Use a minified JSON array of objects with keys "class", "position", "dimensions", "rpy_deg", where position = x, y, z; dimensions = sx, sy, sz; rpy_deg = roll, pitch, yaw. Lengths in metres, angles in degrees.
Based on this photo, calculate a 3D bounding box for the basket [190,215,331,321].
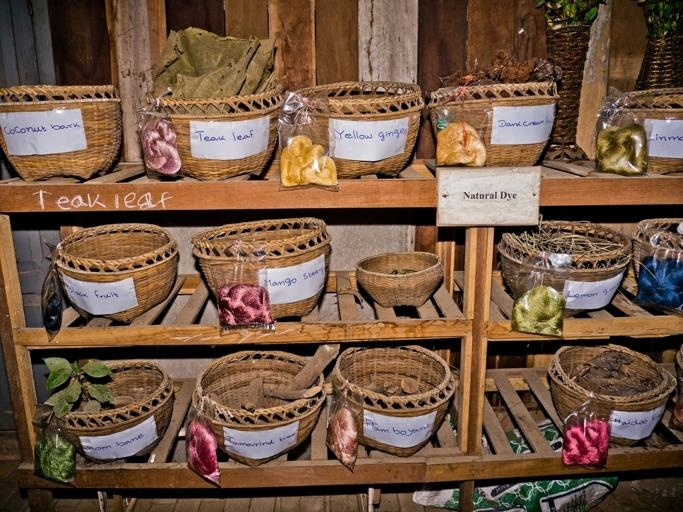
[{"class":"basket","position":[-0.330,0.035,2.390],"dimensions":[0.526,0.349,0.465],"rpy_deg":[-7,25,-13]}]

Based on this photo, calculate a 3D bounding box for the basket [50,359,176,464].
[{"class":"basket","position":[-0.904,0.565,2.432],"dimensions":[0.461,0.243,0.433],"rpy_deg":[0,12,12]}]

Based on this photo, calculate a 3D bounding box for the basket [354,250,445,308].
[{"class":"basket","position":[0.228,0.089,2.503],"dimensions":[0.317,0.154,0.307],"rpy_deg":[-15,19,-39]}]

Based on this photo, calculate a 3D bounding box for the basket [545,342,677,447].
[{"class":"basket","position":[1.155,0.552,2.514],"dimensions":[0.438,0.215,0.470],"rpy_deg":[2,18,2]}]

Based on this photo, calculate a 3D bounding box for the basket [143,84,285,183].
[{"class":"basket","position":[-0.460,-0.445,2.119],"dimensions":[0.449,0.225,0.373],"rpy_deg":[-2,8,-5]}]

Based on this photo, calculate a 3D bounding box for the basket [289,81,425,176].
[{"class":"basket","position":[0.071,-0.501,2.332],"dimensions":[0.476,0.336,0.431],"rpy_deg":[-3,24,-4]}]

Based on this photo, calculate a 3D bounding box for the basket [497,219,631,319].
[{"class":"basket","position":[0.935,0.018,2.370],"dimensions":[0.502,0.240,0.447],"rpy_deg":[-2,12,-2]}]

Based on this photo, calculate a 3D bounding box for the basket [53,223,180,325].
[{"class":"basket","position":[-0.890,0.064,2.408],"dimensions":[0.494,0.275,0.469],"rpy_deg":[2,13,5]}]

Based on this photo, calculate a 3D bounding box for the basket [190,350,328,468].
[{"class":"basket","position":[-0.326,0.611,2.451],"dimensions":[0.503,0.256,0.517],"rpy_deg":[23,26,38]}]

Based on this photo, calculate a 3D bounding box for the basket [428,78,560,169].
[{"class":"basket","position":[0.567,-0.466,2.204],"dimensions":[0.399,0.211,0.372],"rpy_deg":[-6,8,-18]}]
